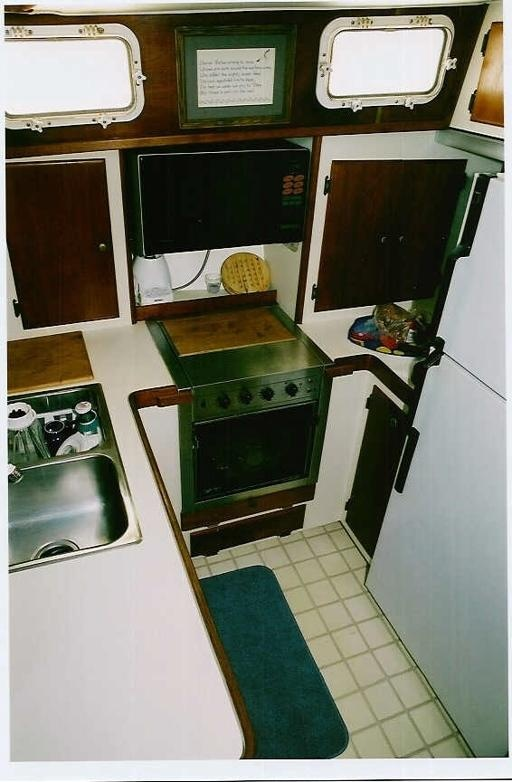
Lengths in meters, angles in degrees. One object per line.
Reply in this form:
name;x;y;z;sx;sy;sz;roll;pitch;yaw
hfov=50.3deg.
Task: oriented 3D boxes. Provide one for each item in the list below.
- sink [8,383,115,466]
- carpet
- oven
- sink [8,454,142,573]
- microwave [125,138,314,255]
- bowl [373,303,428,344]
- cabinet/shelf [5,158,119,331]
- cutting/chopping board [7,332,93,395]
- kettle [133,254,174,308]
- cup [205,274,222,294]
sink;-0.560;0.098;1.541;0.230;0.249;0.263;-9;26;-33
carpet;0.037;0.941;1.948;0.292;0.088;0.794;-6;35;-22
oven;-0.102;0.206;2.161;0.514;0.755;0.573;-7;29;-23
sink;-0.449;0.340;1.282;0.307;0.231;0.317;-3;33;-18
microwave;-0.127;-0.610;1.673;0.607;0.379;0.338;-9;31;-24
bowl;0.534;-0.253;2.012;0.132;0.075;0.180;-35;56;-21
cabinet/shelf;-0.624;-0.441;1.675;0.304;0.489;0.179;-8;31;-24
cutting/chopping board;-0.669;-0.092;1.723;0.202;0.025;0.236;-10;48;-25
kettle;-0.387;-0.400;1.979;0.111;0.180;0.110;-7;31;-29
cup;-0.180;-0.438;2.187;0.057;0.062;0.072;-4;38;-6
